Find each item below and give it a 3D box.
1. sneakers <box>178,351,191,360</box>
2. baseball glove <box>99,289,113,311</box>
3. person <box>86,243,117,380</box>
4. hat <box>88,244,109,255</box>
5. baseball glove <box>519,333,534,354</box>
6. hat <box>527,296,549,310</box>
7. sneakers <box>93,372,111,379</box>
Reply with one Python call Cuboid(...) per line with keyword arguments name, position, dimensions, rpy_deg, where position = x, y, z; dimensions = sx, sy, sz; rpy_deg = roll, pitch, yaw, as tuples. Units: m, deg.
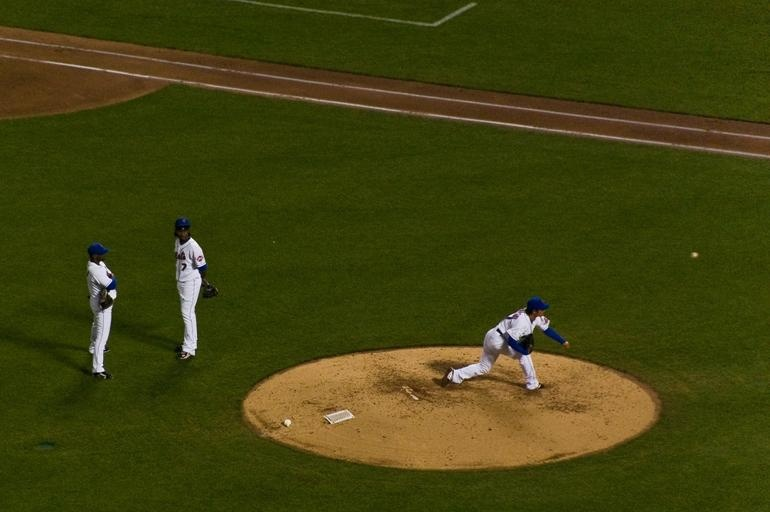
Cuboid(name="sneakers", position=(-4.550, 2.288, 30.964), dimensions=(0.327, 0.114, 0.123), rpy_deg=(5, 10, -15))
Cuboid(name="baseball glove", position=(-6.181, 0.965, 30.156), dimensions=(0.384, 0.362, 0.428), rpy_deg=(2, 8, -10))
Cuboid(name="person", position=(-6.273, 1.220, 30.235), dimensions=(0.879, 3.014, 0.520), rpy_deg=(20, 18, 38))
Cuboid(name="hat", position=(-6.327, -0.149, 30.035), dimensions=(0.395, 0.288, 0.555), rpy_deg=(4, 11, -12))
Cuboid(name="baseball glove", position=(3.174, 1.967, 29.916), dimensions=(0.395, 0.378, 0.342), rpy_deg=(1, -23, -8))
Cuboid(name="hat", position=(3.349, 1.047, 29.784), dimensions=(0.437, 0.325, 0.309), rpy_deg=(8, 12, 5))
Cuboid(name="sneakers", position=(-6.253, 2.687, 30.344), dimensions=(0.471, 0.173, 0.139), rpy_deg=(9, 38, -12))
